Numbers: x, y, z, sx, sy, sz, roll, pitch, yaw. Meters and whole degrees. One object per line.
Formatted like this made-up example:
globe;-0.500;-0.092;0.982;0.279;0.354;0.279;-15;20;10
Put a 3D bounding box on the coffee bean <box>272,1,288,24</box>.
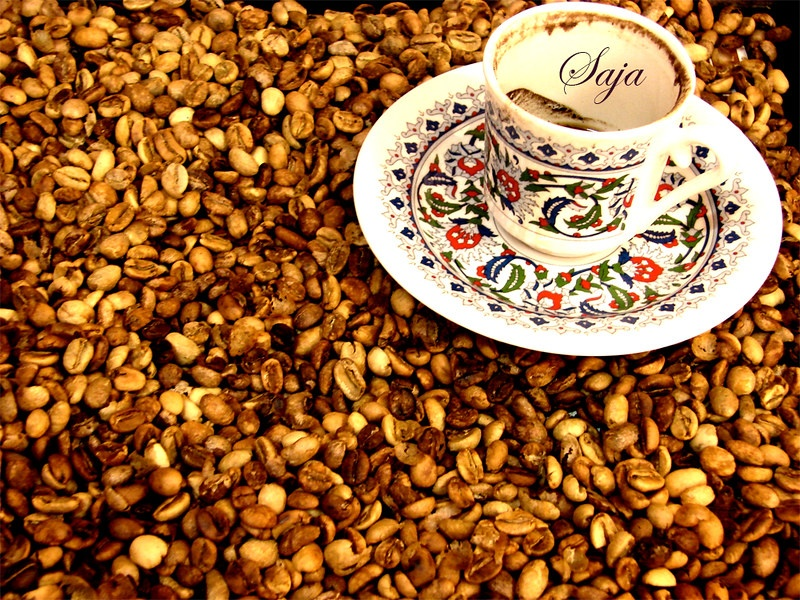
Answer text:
coffee bean;-0.241;-0.569;1.449;0.037;0.012;0.037;-2;87;10
